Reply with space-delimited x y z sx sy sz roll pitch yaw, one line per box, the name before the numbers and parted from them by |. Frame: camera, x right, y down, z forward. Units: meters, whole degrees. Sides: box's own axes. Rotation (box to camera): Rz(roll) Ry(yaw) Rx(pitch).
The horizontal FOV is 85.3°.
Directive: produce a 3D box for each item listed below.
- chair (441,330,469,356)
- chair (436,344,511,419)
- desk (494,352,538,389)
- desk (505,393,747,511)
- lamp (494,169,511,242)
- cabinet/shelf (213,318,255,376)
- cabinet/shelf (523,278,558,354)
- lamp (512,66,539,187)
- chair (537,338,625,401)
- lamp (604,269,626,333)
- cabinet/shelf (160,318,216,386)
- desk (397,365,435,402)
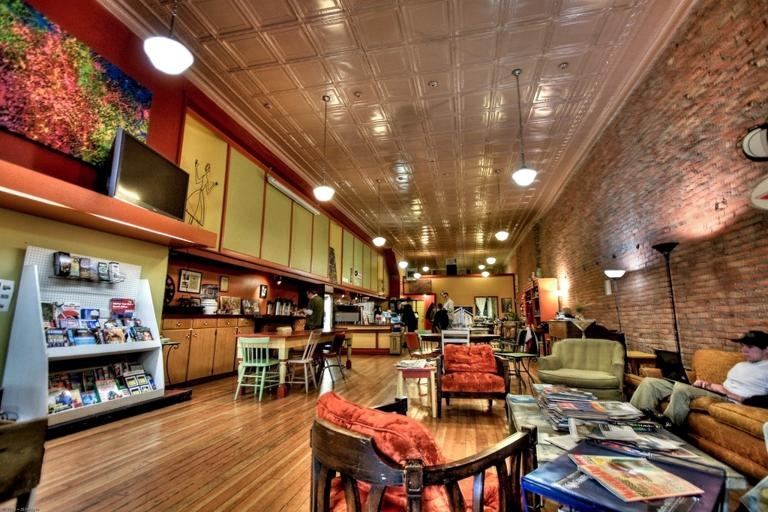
chair | 1.418 1.622 8.182 0.591 0.542 0.396 0 -17 5
chair | 1.415 1.831 6.599 0.983 0.951 1.106 -1 -23 9
desk | 2.773 2.158 8.265 0.577 0.435 0.600 7 -5 -5
desk | 2.208 1.776 3.793 0.756 0.636 1.354 1 -3 5
lamp | 3.386 -1.465 12.173 0.522 2.087 0.503 -6 7 -11
cabinet/shelf | -3.402 1.914 9.077 0.434 1.100 1.244 -7 -6 -10
cabinet/shelf | 4.530 1.675 11.945 0.494 1.828 1.723 2 -17 9
lamp | 2.541 -2.309 7.705 0.667 0.651 2.253 0 -42 23
chair | 3.179 1.850 6.657 1.251 1.074 1.144 -2 -11 21
lamp | 4.742 0.841 8.367 0.337 1.307 0.874 -9 -11 27
cabinet/shelf | -3.606 1.718 7.579 0.522 1.196 1.330 -3 -8 13
desk | 0.524 1.978 6.698 0.655 0.594 0.632 0 -18 3
